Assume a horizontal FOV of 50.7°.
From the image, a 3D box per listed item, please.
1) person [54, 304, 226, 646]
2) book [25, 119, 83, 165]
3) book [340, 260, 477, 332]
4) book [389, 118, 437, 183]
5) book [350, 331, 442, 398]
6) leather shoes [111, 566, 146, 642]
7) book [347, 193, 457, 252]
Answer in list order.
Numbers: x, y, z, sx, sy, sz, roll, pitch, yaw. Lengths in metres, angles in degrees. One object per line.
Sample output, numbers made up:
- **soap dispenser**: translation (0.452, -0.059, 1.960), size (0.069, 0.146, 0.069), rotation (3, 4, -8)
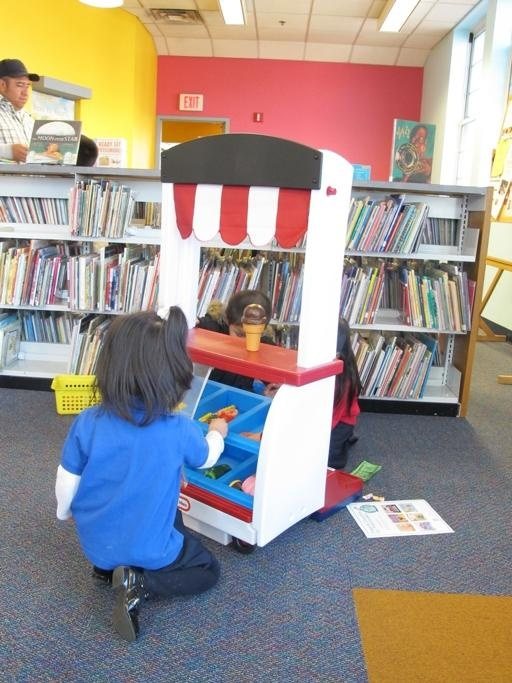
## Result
- **person**: translation (-0.267, 0.302, 1.330), size (0.422, 0.783, 0.250), rotation (0, 11, -19)
- **book**: translation (-1.117, -1.100, 2.977), size (0.272, 0.253, 0.169), rotation (2, 10, -9)
- **book**: translation (0.855, -0.254, 3.168), size (0.479, 0.275, 0.616), rotation (2, 10, -5)
- **book**: translation (0.835, -1.013, 2.908), size (0.211, 0.322, 0.190), rotation (6, 10, 12)
- **book**: translation (0.788, 0.147, 3.183), size (0.474, 0.377, 0.384), rotation (5, 10, 10)
- **leather shoes**: translation (-0.314, 0.631, 1.331), size (0.062, 0.173, 0.073), rotation (-13, -10, 39)
- **book**: translation (0.841, -0.637, 2.994), size (0.709, 0.316, 0.322), rotation (-6, 14, -42)
